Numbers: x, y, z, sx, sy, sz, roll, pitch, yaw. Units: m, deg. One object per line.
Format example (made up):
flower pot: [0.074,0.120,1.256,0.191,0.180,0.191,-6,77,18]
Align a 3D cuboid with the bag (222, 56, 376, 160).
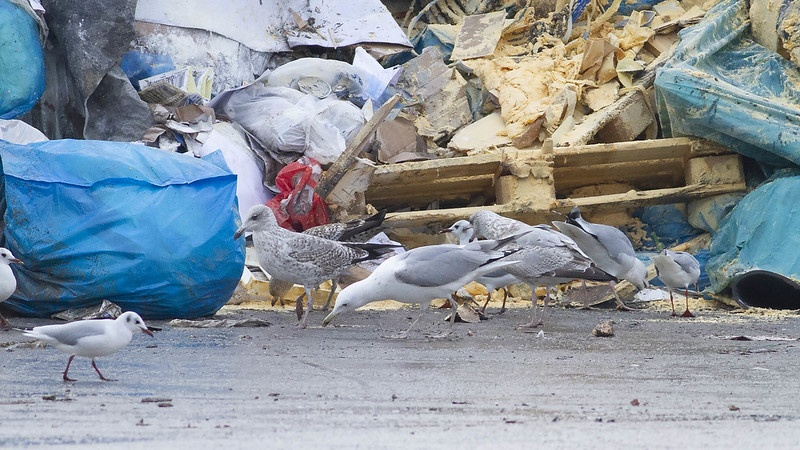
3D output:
bag: [-1.720,-2.019,23.583,2.452,0.966,2.112,28,36,21]
